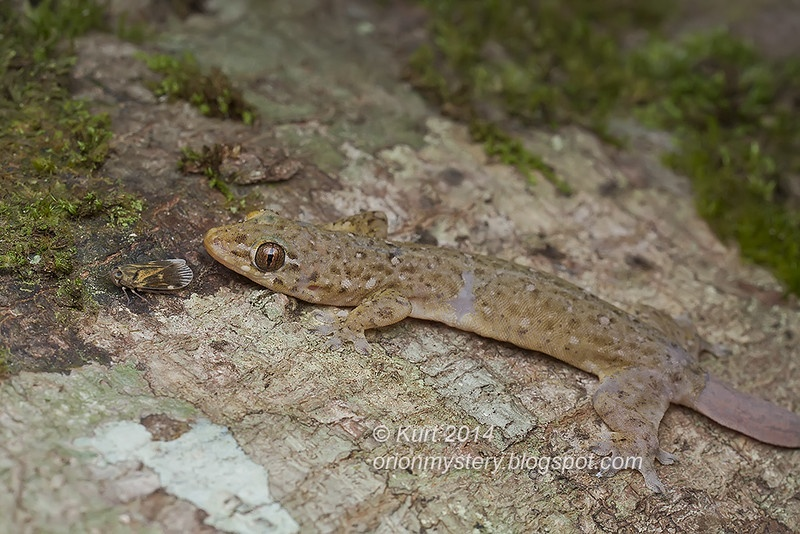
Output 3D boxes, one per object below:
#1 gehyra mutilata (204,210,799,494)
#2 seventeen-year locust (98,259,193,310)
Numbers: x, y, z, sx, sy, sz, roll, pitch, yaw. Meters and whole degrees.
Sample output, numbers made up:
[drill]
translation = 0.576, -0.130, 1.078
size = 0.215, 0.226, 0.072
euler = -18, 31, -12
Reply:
[gehyra mutilata]
translation = 0.921, 0.522, 7.576
size = 5.254, 0.545, 1.405
euler = 20, 66, 5
[seventeen-year locust]
translation = -2.214, 0.091, 7.431
size = 0.665, 0.180, 0.338
euler = -18, 68, -12
